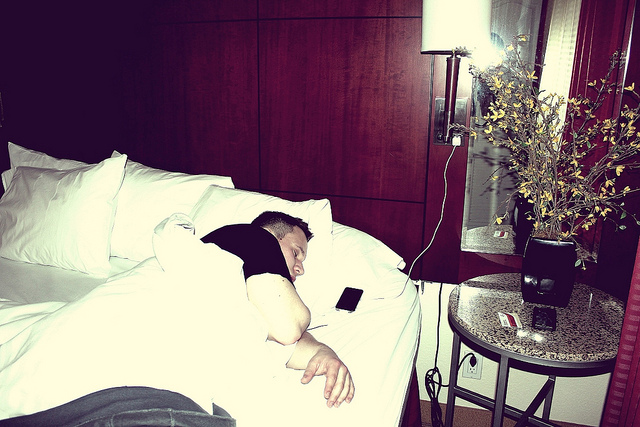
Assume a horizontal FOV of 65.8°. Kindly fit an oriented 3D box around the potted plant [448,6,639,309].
[{"bbox_3d":[0.980,-0.239,2.144,0.733,1.254,0.418,4,12,14],"label":"potted plant"}]

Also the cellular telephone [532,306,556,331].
[{"bbox_3d":[0.925,0.434,2.041,0.089,0.057,0.127,6,12,24],"label":"cellular telephone"}]

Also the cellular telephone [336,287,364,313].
[{"bbox_3d":[0.122,0.359,2.075,0.074,0.075,0.128,6,12,24],"label":"cellular telephone"}]

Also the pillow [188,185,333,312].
[{"bbox_3d":[-0.276,0.131,2.184,0.692,0.439,0.351,6,12,22],"label":"pillow"}]

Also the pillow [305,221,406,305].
[{"bbox_3d":[0.156,0.215,2.120,0.335,0.333,0.089,32,-23,-1],"label":"pillow"}]

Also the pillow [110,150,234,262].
[{"bbox_3d":[-0.781,-0.008,2.618,0.580,0.540,0.169,12,-12,11],"label":"pillow"}]

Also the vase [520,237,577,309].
[{"bbox_3d":[1.029,0.262,2.157,0.278,0.306,0.238,5,-2,11],"label":"vase"}]
